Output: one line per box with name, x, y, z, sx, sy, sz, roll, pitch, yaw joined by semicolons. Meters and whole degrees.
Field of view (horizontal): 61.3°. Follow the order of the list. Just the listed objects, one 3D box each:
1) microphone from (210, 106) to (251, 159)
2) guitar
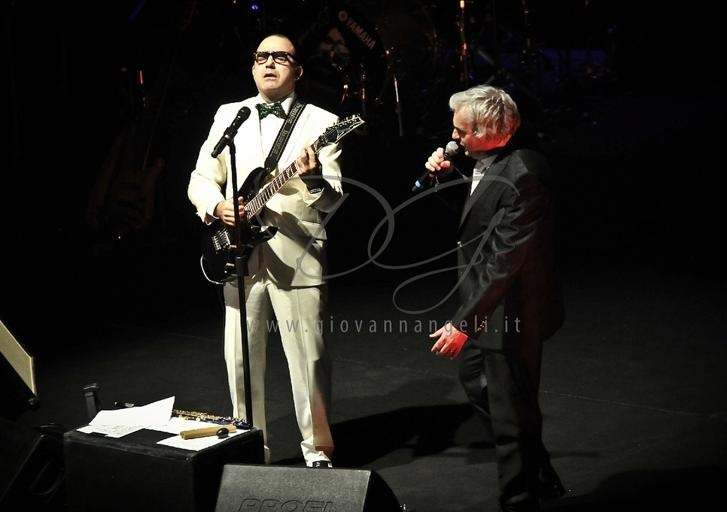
microphone;-0.657;-0.615;3.016;0.137;0.239;0.169;-7;9;-42
guitar;-0.451;-0.226;3.442;1.397;0.499;0.147;-44;-26;23
